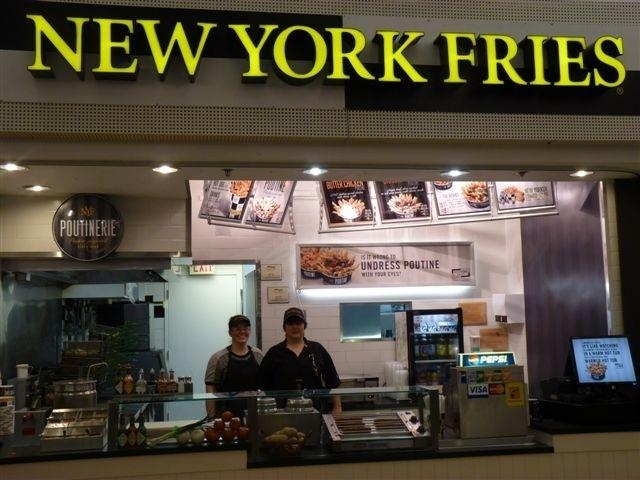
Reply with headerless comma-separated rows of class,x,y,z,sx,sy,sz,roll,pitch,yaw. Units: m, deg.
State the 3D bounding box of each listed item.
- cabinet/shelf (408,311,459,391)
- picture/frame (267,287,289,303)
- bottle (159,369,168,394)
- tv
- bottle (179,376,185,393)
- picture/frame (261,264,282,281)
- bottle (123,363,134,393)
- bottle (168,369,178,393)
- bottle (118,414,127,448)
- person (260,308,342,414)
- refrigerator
cabinet/shelf,1.511,1.453,7.774,0.652,1.133,0.597,2,-2,-8
picture/frame,-0.618,0.762,7.767,0.215,0.162,0.029,1,-9,-7
bottle,-1.674,1.484,5.884,0.095,0.232,0.529,3,-12,-16
tv,2.640,1.112,5.199,0.607,0.434,0.114,3,-12,-17
bottle,-1.466,1.514,5.845,0.067,0.145,0.160,3,-12,-17
picture/frame,-0.697,0.439,7.765,0.244,0.231,0.056,3,-3,-11
bottle,-1.984,1.427,5.739,0.114,0.283,0.483,3,-12,-18
bottle,-1.562,1.490,5.893,0.090,0.221,0.251,3,-12,-15
bottle,-1.619,1.553,4.543,0.072,0.255,0.041,5,-13,-23
person,-0.235,1.207,6.214,0.882,0.885,0.398,1,-12,-7
refrigerator,1.481,1.495,7.560,0.734,1.191,0.620,2,-2,-10
